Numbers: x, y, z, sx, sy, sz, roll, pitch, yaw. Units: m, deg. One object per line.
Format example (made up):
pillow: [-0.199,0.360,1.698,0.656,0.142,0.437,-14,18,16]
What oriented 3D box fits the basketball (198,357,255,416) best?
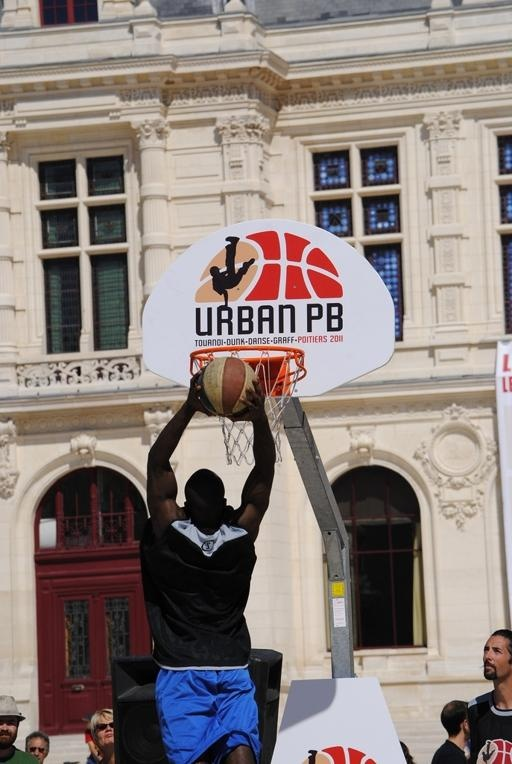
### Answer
basketball: [-0.170,0.044,15.220,0.402,0.444,0.383,3,-23,5]
